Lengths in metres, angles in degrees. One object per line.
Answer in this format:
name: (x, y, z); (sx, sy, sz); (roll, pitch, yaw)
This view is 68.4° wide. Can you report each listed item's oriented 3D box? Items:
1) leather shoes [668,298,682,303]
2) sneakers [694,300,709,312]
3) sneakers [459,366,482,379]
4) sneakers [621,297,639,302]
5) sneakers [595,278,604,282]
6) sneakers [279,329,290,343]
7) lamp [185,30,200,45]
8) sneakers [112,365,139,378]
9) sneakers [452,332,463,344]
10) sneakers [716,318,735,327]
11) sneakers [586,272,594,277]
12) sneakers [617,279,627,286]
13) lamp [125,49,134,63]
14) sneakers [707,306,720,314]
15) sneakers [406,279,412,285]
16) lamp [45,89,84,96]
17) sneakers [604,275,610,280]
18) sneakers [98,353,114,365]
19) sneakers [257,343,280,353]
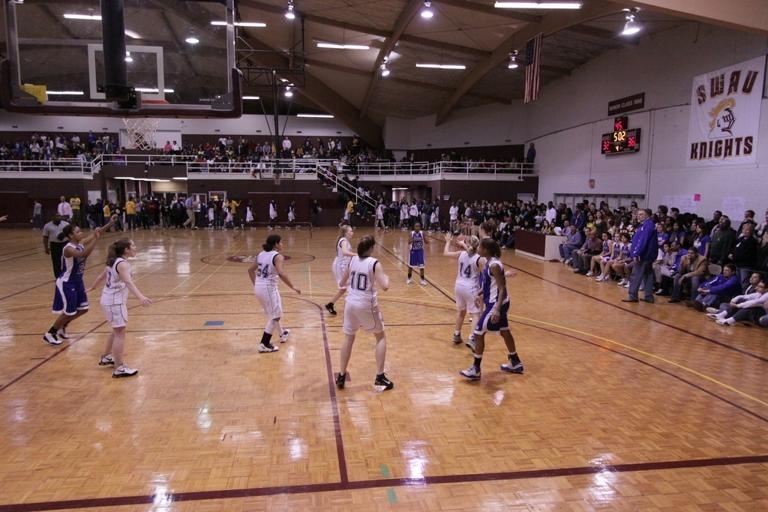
leather shoes: (7.991, 1.241, 15.738); (0.350, 0.156, 0.123); (4, -1, 16)
sneakers: (8.219, 1.301, 14.852); (0.117, 0.252, 0.367); (-3, 9, -31)
sneakers: (1.610, 2.222, 10.881); (0.440, 0.285, 0.174); (5, 2, 4)
sneakers: (6.726, 1.210, 15.621); (0.376, 0.170, 0.143); (4, 6, 7)
sneakers: (6.923, 0.735, 18.354); (0.252, 0.131, 0.248); (4, 8, 17)
sneakers: (-2.189, 1.698, 12.395); (0.191, 0.244, 0.448); (1, 7, 0)
lamp: (-3.105, -3.530, 9.227); (0.205, 0.200, 0.213); (4, 3, 40)
sneakers: (-4.881, 2.178, 10.834); (0.523, 0.268, 0.193); (-1, 6, -22)
sneakers: (1.586, 1.754, 12.392); (0.231, 0.241, 0.392); (2, 7, 7)
sneakers: (8.210, 1.611, 13.759); (0.422, 0.173, 0.174); (2, -2, 8)
sneakers: (6.883, 0.593, 19.154); (0.188, 0.132, 0.235); (3, 7, 15)
sneakers: (7.374, 0.816, 17.690); (0.163, 0.224, 0.514); (2, 3, 16)
lamp: (-4.102, -3.232, 9.170); (0.149, 0.203, 0.055); (8, 10, 39)
sneakers: (8.300, 1.374, 14.445); (0.151, 0.136, 0.393); (4, 2, 17)
sneakers: (0.731, 0.778, 17.648); (0.153, 0.205, 0.113); (24, 47, 17)
lamp: (-5.070, -2.594, 8.996); (0.604, 0.097, 0.031); (1, 3, -13)
sneakers: (7.233, 0.703, 18.495); (0.112, 0.146, 0.349); (7, 9, 36)
sneakers: (-5.399, 2.022, 11.133); (0.152, 0.194, 0.391); (2, 3, 11)
sneakers: (-2.398, 1.902, 11.781); (0.437, 0.206, 0.170); (1, 0, -18)
